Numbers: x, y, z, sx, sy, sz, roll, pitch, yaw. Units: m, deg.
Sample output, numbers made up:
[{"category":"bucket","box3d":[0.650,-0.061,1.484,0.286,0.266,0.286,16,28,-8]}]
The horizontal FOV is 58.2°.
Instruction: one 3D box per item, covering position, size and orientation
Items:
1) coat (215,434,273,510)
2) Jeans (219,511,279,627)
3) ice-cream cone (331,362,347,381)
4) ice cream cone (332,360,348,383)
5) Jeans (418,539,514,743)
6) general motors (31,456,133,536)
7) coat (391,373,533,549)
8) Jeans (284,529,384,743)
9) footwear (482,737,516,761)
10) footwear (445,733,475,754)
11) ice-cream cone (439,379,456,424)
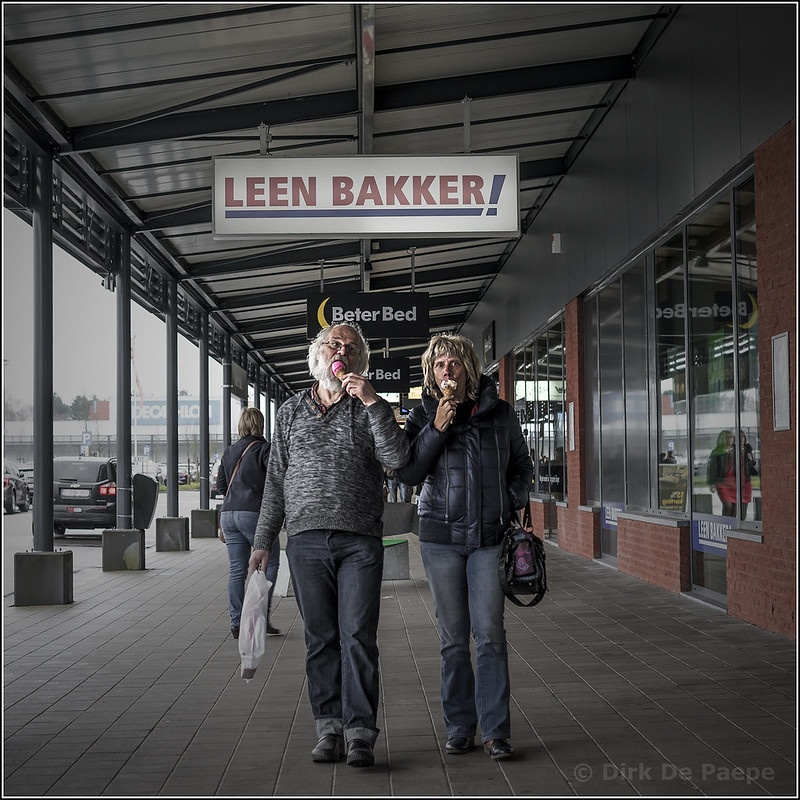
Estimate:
[{"category":"coat","box3d":[-1.280,0.697,5.909,0.411,0.700,0.331,0,-27,12]},{"category":"Jeans","box3d":[-1.204,1.345,5.809,0.391,1.110,0.344,-3,2,2]},{"category":"ice-cream cone","box3d":[-0.261,-0.115,3.099,0.032,0.037,0.071,42,8,-39]},{"category":"ice cream cone","box3d":[-0.259,-0.113,3.098,0.045,0.095,0.042,-33,23,1]},{"category":"Jeans","box3d":[0.282,1.028,3.137,0.308,0.290,0.991,-10,42,9]},{"category":"general motors","box3d":[-6.243,1.902,14.240,1.368,1.659,2.865,1,7,-6]},{"category":"coat","box3d":[0.329,0.254,3.302,0.528,0.821,0.371,-2,12,-8]},{"category":"Jeans","box3d":[-0.278,0.992,3.024,0.405,0.870,0.176,-1,-5,-2]},{"category":"footwear","box3d":[0.426,1.448,2.973,0.054,0.074,0.147,4,-21,-13]},{"category":"footwear","box3d":[0.252,1.471,3.073,0.049,0.074,0.154,-3,-19,16]},{"category":"ice-cream cone","box3d":[0.203,0.032,3.098,0.055,0.227,0.070,7,-23,-3]}]
